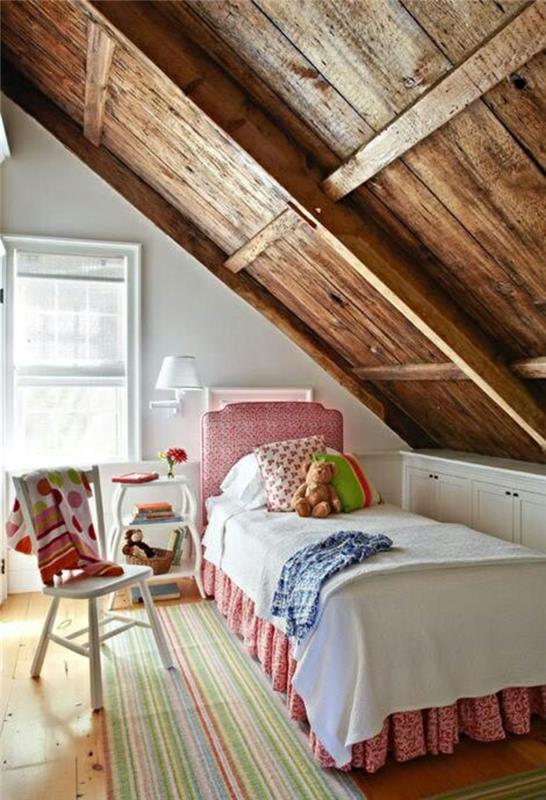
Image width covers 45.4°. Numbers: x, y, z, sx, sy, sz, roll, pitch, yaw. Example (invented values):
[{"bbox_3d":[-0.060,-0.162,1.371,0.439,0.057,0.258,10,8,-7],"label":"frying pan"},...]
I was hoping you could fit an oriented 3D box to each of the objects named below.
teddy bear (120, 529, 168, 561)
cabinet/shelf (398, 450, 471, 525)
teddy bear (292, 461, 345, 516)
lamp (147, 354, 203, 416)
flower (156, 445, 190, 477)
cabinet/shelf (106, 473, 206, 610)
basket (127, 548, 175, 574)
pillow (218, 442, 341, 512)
[{"bbox_3d":[-0.703,0.791,3.580,0.226,0.159,0.151,-1,0,8],"label":"teddy bear"},{"bbox_3d":[0.976,0.522,3.902,0.172,0.360,0.424,0,4,-18],"label":"cabinet/shelf"},{"bbox_3d":[0.226,0.443,3.285,0.233,0.275,0.235,3,-2,43],"label":"teddy bear"},{"bbox_3d":[-0.554,-0.077,3.810,0.312,0.348,0.371,-1,2,-10],"label":"lamp"},{"bbox_3d":[-0.580,0.337,3.701,0.190,0.165,0.179,6,-2,17],"label":"flower"},{"bbox_3d":[-0.689,0.696,3.943,0.692,0.989,0.804,-2,1,-15],"label":"cabinet/shelf"},{"bbox_3d":[-0.649,0.873,3.567,0.264,0.084,0.240,2,0,-31],"label":"basket"},{"bbox_3d":[-0.037,0.389,3.536,0.445,0.119,0.431,-18,28,-29],"label":"pillow"}]
